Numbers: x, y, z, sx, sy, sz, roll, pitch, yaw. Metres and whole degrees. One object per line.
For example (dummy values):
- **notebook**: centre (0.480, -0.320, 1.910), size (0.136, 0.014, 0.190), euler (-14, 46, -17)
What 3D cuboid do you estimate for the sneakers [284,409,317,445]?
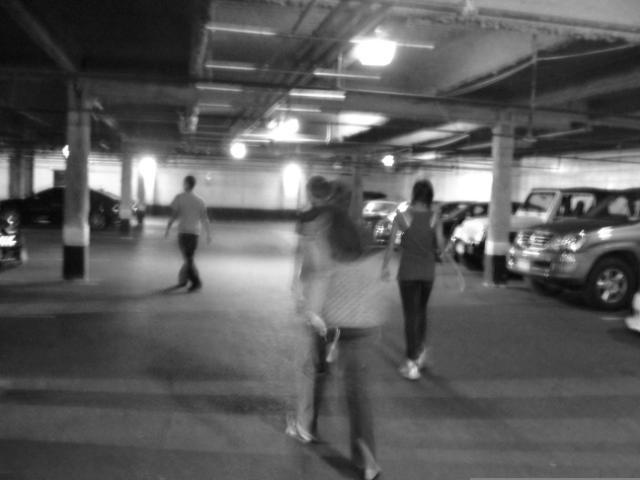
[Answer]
- **sneakers**: centre (-0.122, 1.499, 4.264), size (0.142, 0.233, 0.222), euler (-4, 27, -46)

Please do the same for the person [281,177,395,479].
- **person**: centre (0.107, 0.564, 3.985), size (0.689, 2.055, 0.919), euler (1, 4, -3)
